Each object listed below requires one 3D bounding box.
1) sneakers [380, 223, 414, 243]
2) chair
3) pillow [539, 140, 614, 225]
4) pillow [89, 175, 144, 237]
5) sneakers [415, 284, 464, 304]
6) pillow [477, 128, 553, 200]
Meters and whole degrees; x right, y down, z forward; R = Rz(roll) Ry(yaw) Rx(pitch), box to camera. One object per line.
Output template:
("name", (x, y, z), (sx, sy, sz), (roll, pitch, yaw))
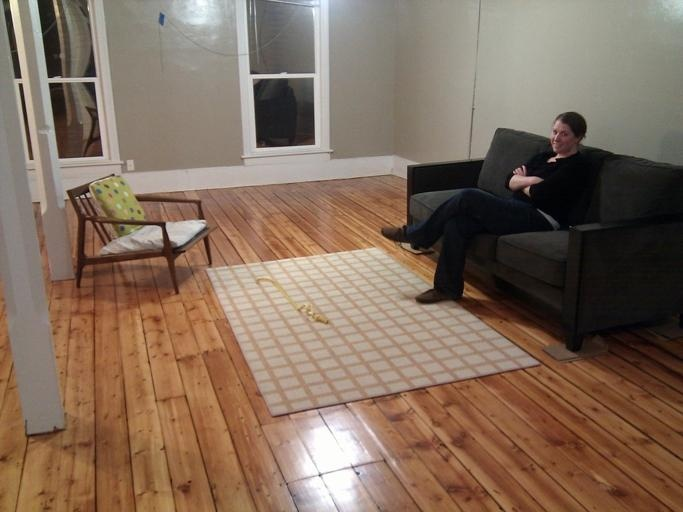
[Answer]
("sneakers", (0.407, -0.178, 3.776), (0.251, 0.100, 0.092), (13, 47, 31))
("chair", (-1.693, -0.066, 4.032), (1.171, 0.896, 0.949), (6, 19, -5))
("pillow", (1.576, -0.480, 3.379), (0.197, 0.471, 0.460), (6, 16, -43))
("pillow", (-1.773, -0.356, 3.890), (0.116, 0.474, 0.487), (-28, 2, 23))
("sneakers", (0.662, 0.291, 3.544), (0.380, 0.155, 0.124), (2, 35, -1))
("pillow", (1.434, -0.753, 4.087), (0.226, 0.547, 0.572), (7, 1, -35))
